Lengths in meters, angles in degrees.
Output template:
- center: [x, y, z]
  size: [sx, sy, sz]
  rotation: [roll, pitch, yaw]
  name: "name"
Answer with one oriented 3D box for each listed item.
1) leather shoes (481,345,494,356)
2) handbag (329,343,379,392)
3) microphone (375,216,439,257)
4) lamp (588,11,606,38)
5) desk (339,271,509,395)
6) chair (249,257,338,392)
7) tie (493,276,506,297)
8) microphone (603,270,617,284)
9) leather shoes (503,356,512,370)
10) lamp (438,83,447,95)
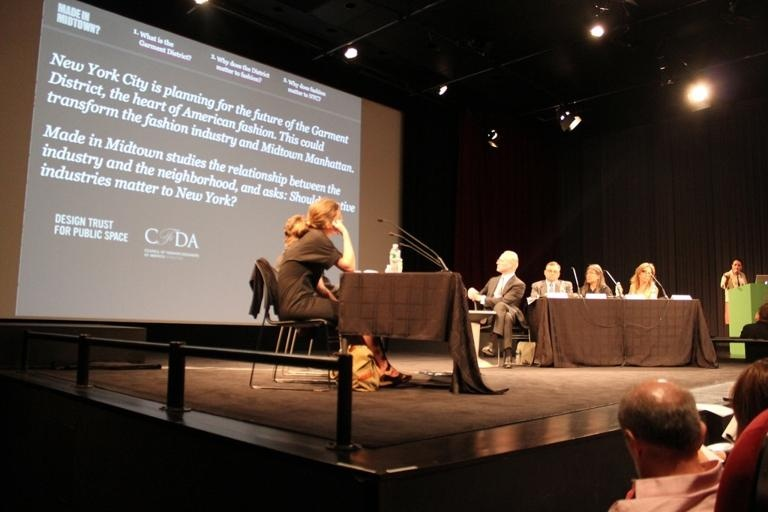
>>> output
- center: [1.267, 1.122, 6.671]
  size: [0.082, 0.113, 0.188]
  rotation: [15, -7, -11]
  name: "leather shoes"
- center: [-0.141, 0.802, 3.944]
  size: [0.323, 0.447, 0.157]
  rotation: [2, -13, -3]
  name: "handbag"
- center: [0.311, -0.311, 8.473]
  size: [0.167, 0.174, 1.311]
  rotation: [-2, 25, -31]
  name: "microphone"
- center: [2.731, -2.919, 6.961]
  size: [0.160, 0.346, 0.308]
  rotation: [-2, -5, 23]
  name: "lamp"
- center: [0.221, 0.541, 4.193]
  size: [1.149, 0.855, 0.774]
  rotation: [1, -3, 7]
  name: "desk"
- center: [-0.742, 0.479, 4.481]
  size: [0.707, 1.013, 0.667]
  rotation: [-3, 11, -22]
  name: "chair"
- center: [1.440, 0.372, 6.845]
  size: [0.089, 0.093, 0.338]
  rotation: [-10, 28, 21]
  name: "tie"
- center: [4.053, 0.349, 9.790]
  size: [0.062, 0.234, 0.218]
  rotation: [-32, -23, 34]
  name: "microphone"
- center: [1.366, 1.158, 6.040]
  size: [0.091, 0.159, 0.153]
  rotation: [3, 3, 14]
  name: "leather shoes"
- center: [0.958, -2.612, 8.737]
  size: [0.046, 0.176, 0.123]
  rotation: [28, 1, -27]
  name: "lamp"
